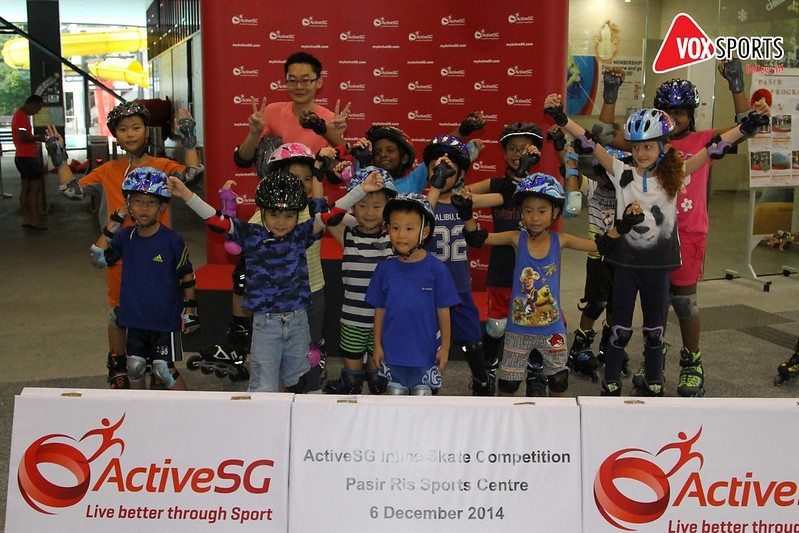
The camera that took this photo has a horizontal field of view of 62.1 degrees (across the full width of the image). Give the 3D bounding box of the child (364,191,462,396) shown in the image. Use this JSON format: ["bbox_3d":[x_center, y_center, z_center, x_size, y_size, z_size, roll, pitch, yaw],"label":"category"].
[{"bbox_3d":[0.097,0.219,4.830,0.667,1.479,0.289,0,6,-3],"label":"child"}]

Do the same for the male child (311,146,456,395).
[{"bbox_3d":[-0.245,0.192,5.388,1.180,2.281,0.742,-16,37,-25],"label":"male child"}]

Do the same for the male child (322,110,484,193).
[{"bbox_3d":[-0.179,-0.827,5.675,0.589,0.653,1.619,12,1,-13],"label":"male child"}]

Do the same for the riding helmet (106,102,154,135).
[{"bbox_3d":[-2.380,-1.306,5.788,0.349,0.284,0.339,-1,7,-12],"label":"riding helmet"}]

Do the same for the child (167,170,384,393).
[{"bbox_3d":[-0.944,0.135,4.999,1.019,1.673,0.399,-2,7,-22],"label":"child"}]

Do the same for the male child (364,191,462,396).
[{"bbox_3d":[0.097,0.219,4.830,0.667,1.479,0.289,0,6,-3],"label":"male child"}]

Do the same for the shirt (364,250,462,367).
[{"bbox_3d":[0.066,0.305,4.920,0.929,1.109,0.386,0,0,2],"label":"shirt"}]

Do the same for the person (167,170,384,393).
[{"bbox_3d":[-0.954,0.133,5.015,1.027,1.673,0.427,-3,7,-23],"label":"person"}]

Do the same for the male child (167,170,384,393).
[{"bbox_3d":[-0.946,0.138,4.973,1.014,1.673,0.375,-2,7,-18],"label":"male child"}]

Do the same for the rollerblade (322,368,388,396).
[{"bbox_3d":[-0.361,0.935,5.215,0.525,0.236,0.296,1,-1,4],"label":"rollerblade"}]
